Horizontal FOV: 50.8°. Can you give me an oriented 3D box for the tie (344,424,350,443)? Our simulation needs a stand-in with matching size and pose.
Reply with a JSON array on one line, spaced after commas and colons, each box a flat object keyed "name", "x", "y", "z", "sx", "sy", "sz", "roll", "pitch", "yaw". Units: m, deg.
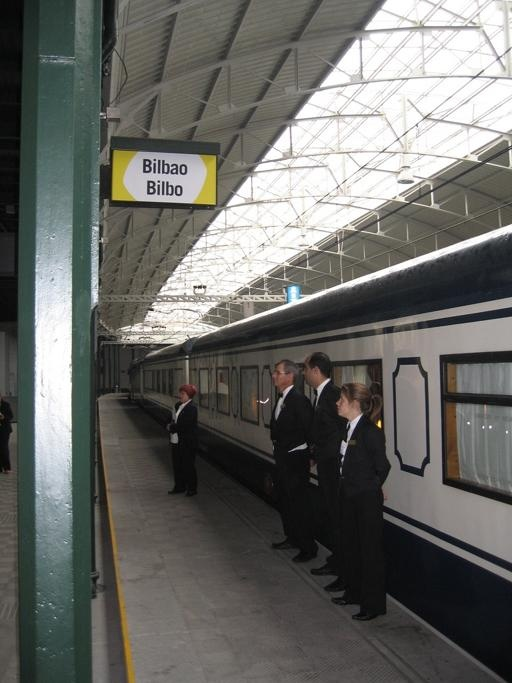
[{"name": "tie", "x": 0.700, "y": 0.718, "z": 4.283, "sx": 0.044, "sy": 0.124, "sz": 0.086, "roll": 10, "pitch": -4, "yaw": 4}]
